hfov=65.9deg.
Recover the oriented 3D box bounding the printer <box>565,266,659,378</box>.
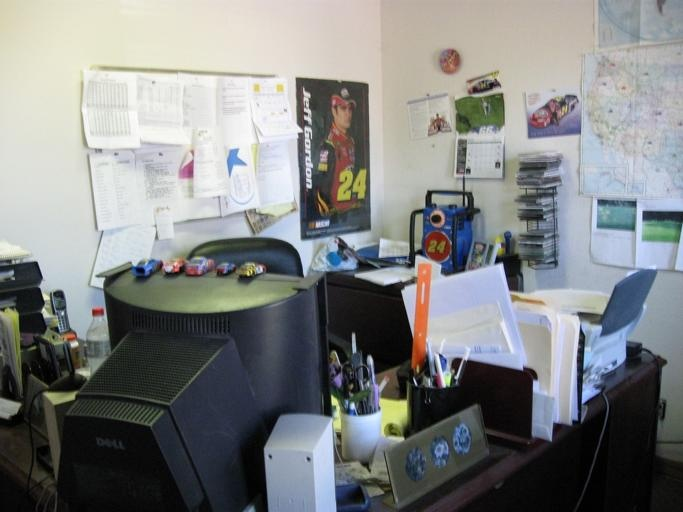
[{"bbox_3d":[0.815,0.219,1.580,0.386,0.340,0.091,-13,14,-39],"label":"printer"}]

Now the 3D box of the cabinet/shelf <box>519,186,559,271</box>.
[{"bbox_3d":[1.089,-0.151,2.922,0.200,0.458,0.193,4,13,36],"label":"cabinet/shelf"}]

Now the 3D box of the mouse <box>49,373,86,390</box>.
[{"bbox_3d":[-0.690,0.313,1.323,0.070,0.029,0.054,2,8,-5],"label":"mouse"}]
